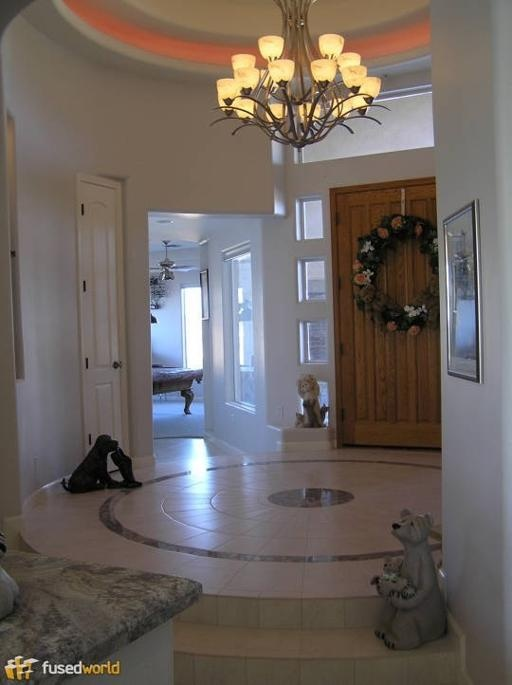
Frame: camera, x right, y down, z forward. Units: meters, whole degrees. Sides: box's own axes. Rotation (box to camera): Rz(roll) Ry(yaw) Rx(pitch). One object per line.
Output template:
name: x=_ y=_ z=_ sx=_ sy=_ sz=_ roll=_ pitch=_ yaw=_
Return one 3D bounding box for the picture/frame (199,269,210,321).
picture/frame: x=-0.790 y=-0.757 z=9.264 sx=0.145 sy=0.814 sz=0.493 roll=-8 pitch=11 yaw=-10

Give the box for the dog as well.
dog: x=-1.386 y=1.032 z=4.872 sx=0.479 sy=0.445 sz=0.268 roll=-4 pitch=-7 yaw=-26

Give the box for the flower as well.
flower: x=1.466 y=-0.740 z=6.130 sx=1.054 sy=1.167 sz=0.358 roll=-2 pitch=-3 yaw=16
